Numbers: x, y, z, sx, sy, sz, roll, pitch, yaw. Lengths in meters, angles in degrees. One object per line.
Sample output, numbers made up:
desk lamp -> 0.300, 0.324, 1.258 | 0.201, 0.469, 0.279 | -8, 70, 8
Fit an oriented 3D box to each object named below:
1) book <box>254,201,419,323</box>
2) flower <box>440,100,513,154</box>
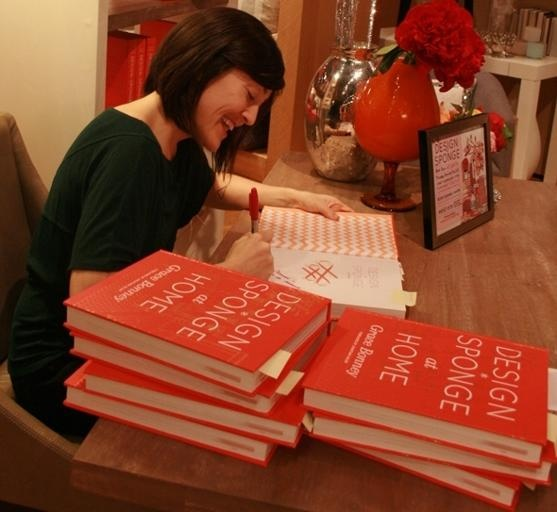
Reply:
book -> 0.126, 0.015, 0.972 | 0.196, 0.042, 0.296 | 5, 29, 4
flower -> 0.596, -0.389, 1.440 | 0.214, 0.094, 0.218 | -3, 11, -11
